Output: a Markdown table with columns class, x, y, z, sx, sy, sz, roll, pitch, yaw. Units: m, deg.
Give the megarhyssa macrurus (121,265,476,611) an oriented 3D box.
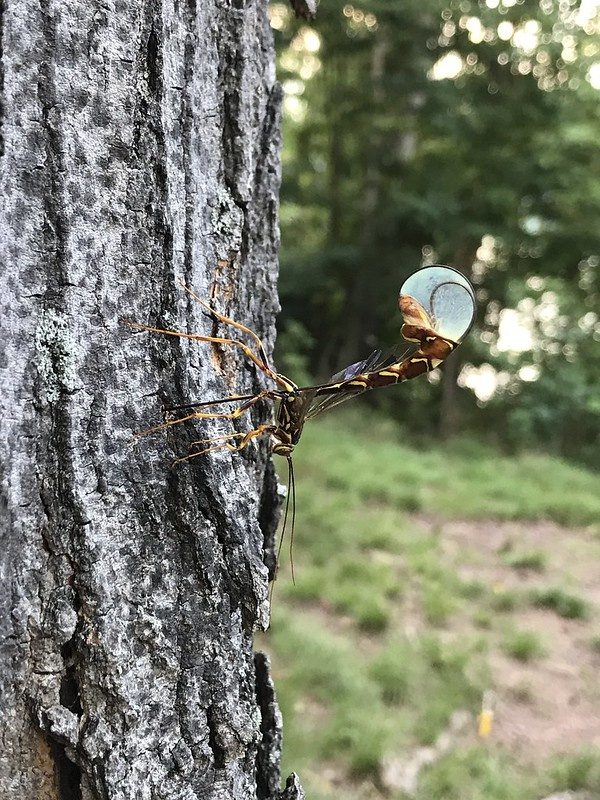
| class | x | y | z | sx | sy | sz | roll | pitch | yaw |
| --- | --- | --- | --- | --- | --- | --- | --- | --- | --- |
| megarhyssa macrurus | 0.017 | -0.028 | 2.899 | 0.482 | 0.892 | 0.838 | 61 | -6 | -23 |
